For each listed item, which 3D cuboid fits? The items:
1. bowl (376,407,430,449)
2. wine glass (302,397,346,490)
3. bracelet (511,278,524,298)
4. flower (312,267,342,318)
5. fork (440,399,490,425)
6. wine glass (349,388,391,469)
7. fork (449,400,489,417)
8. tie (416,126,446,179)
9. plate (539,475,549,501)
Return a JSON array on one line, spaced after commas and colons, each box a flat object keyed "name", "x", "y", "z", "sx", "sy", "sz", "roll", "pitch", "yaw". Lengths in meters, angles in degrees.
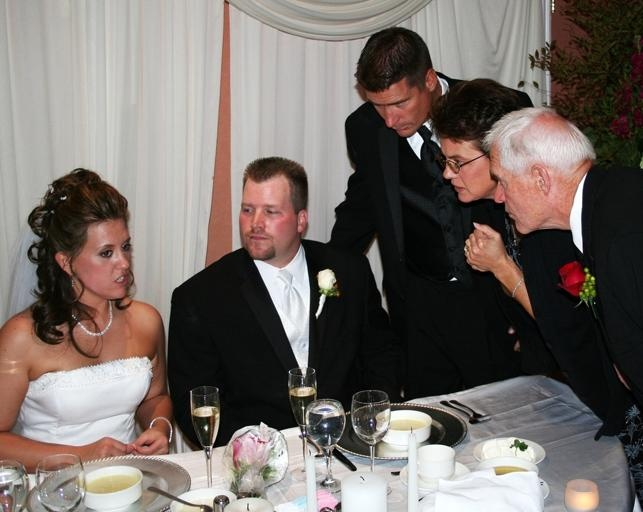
[{"name": "bowl", "x": 0.344, "y": 0.767, "z": 2.438, "sx": 0.276, "sy": 0.139, "sz": 0.309, "roll": -4, "pitch": 0, "yaw": 8}, {"name": "wine glass", "x": 0.017, "y": 0.689, "z": 2.170, "sx": 0.140, "sy": 0.337, "sz": 0.342, "roll": -4, "pitch": 5, "yaw": -2}, {"name": "bracelet", "x": 1.108, "y": 0.178, "z": 3.212, "sx": 0.029, "sy": 0.083, "sz": 0.071, "roll": 34, "pitch": -9, "yaw": -5}, {"name": "flower", "x": 0.018, "y": 0.218, "z": 3.323, "sx": 0.116, "sy": 0.297, "sz": 0.311, "roll": 2, "pitch": 18, "yaw": 11}, {"name": "fork", "x": 0.660, "y": 0.695, "z": 2.641, "sx": 0.069, "sy": 0.035, "sz": 0.213, "roll": -3, "pitch": 10, "yaw": -20}, {"name": "wine glass", "x": 0.197, "y": 0.678, "z": 2.210, "sx": 0.140, "sy": 0.328, "sz": 0.275, "roll": -4, "pitch": 5, "yaw": 4}, {"name": "fork", "x": 0.695, "y": 0.708, "z": 2.633, "sx": 0.053, "sy": 0.032, "sz": 0.205, "roll": -8, "pitch": 20, "yaw": -24}, {"name": "tie", "x": 0.723, "y": -0.667, "z": 3.724, "sx": 0.068, "sy": 0.331, "sz": 0.180, "roll": -11, "pitch": 22, "yaw": 5}, {"name": "plate", "x": 0.810, "y": 0.841, "z": 2.053, "sx": 0.011, "sy": 0.067, "sz": 0.060, "roll": -12, "pitch": -5, "yaw": 20}]
